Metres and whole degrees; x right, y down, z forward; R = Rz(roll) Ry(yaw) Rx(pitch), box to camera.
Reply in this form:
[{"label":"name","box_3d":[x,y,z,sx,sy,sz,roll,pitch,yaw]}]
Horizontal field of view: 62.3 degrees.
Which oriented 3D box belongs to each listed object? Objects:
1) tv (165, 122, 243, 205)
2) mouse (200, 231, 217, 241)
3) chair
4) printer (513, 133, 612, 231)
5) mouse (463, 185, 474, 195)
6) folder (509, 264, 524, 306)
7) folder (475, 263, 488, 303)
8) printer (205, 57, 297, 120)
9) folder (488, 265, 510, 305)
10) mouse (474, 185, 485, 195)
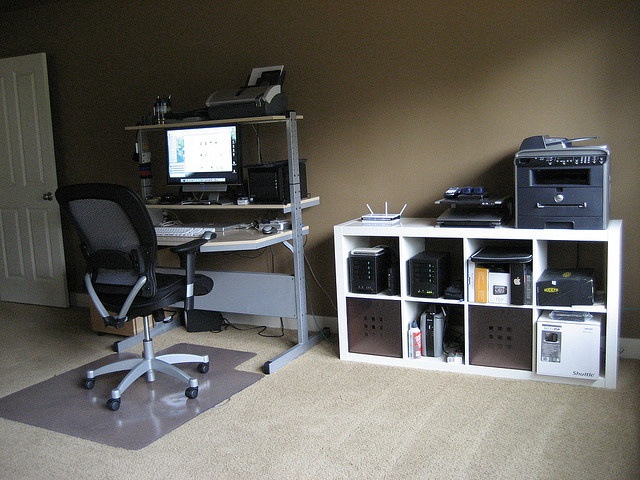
[{"label":"tv","box_3d":[-0.828,-0.548,3.968,0.649,0.591,0.211,0,2,23]},{"label":"mouse","box_3d":[-0.715,-0.025,3.372,0.053,0.025,0.077,8,22,13]},{"label":"chair","box_3d":[-1.086,0.299,3.159,0.836,1.314,0.531,-4,14,-6]},{"label":"printer","box_3d":[1.386,-0.326,3.115,0.482,0.547,0.566,1,4,24]},{"label":"mouse","box_3d":[0.937,-0.318,3.341,0.048,0.040,0.068,0,12,11]},{"label":"folder","box_3d":[1.171,0.262,3.135,0.085,0.247,0.041,2,15,19]},{"label":"folder","box_3d":[0.983,0.276,3.218,0.079,0.226,0.230,1,3,16]},{"label":"printer","box_3d":[-0.509,-1.191,3.746,0.616,0.441,0.394,3,8,29]},{"label":"folder","box_3d":[1.083,0.282,3.200,0.126,0.200,0.085,2,15,17]},{"label":"mouse","box_3d":[0.997,-0.309,3.287,0.063,0.048,0.066,0,7,17]}]
